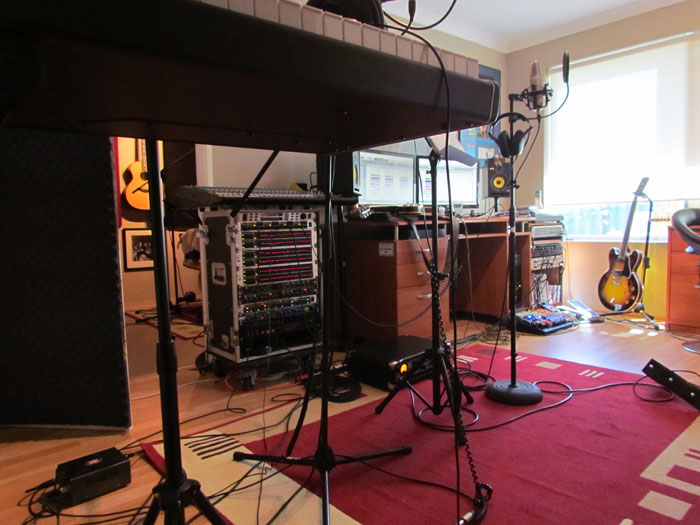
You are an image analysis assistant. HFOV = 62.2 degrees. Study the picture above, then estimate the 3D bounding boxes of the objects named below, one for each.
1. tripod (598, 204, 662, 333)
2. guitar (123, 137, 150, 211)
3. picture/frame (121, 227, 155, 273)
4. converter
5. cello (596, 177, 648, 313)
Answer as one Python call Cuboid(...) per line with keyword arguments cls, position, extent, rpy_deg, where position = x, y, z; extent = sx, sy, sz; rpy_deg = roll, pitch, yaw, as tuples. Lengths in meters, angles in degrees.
Cuboid(cls="tripod", position=(2.139, -0.071, 4.378), extent=(0.389, 1.085, 0.500), rpy_deg=(6, 2, -32))
Cuboid(cls="guitar", position=(-1.583, -0.747, 4.447), extent=(0.273, 0.738, 0.092), rpy_deg=(1, -15, -25))
Cuboid(cls="picture/frame", position=(-1.542, -0.082, 4.151), extent=(0.033, 0.377, 0.325), rpy_deg=(-7, -4, 39))
Cuboid(cls="converter", position=(-0.960, 0.791, 2.139), extent=(0.263, 0.113, 0.157), rpy_deg=(-10, 17, -31))
Cuboid(cls="cello", position=(2.066, -0.129, 4.316), extent=(0.313, 1.003, 0.110), rpy_deg=(8, 14, 12))
